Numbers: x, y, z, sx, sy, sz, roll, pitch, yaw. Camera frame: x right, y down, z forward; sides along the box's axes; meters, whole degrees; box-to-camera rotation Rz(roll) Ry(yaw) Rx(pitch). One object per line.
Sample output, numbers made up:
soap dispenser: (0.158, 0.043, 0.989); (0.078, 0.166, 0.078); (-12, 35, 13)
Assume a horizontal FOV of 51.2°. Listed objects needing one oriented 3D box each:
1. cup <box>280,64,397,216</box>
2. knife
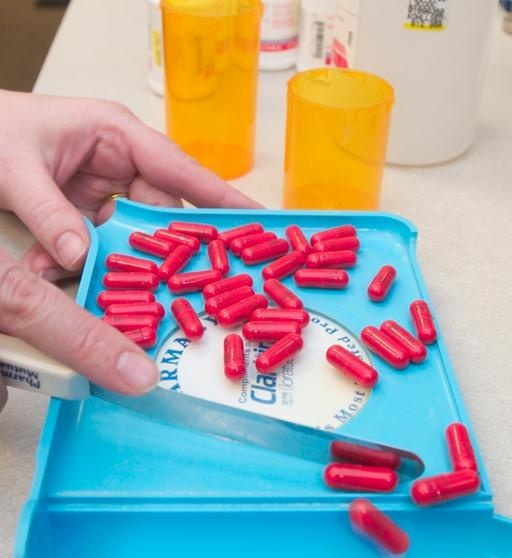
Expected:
cup: (0.130, -0.230, 0.875); (0.161, 0.195, 0.222); (4, 59, 6)
knife: (-0.051, 0.143, 0.576); (0.553, 0.058, 0.039); (11, 37, 9)
